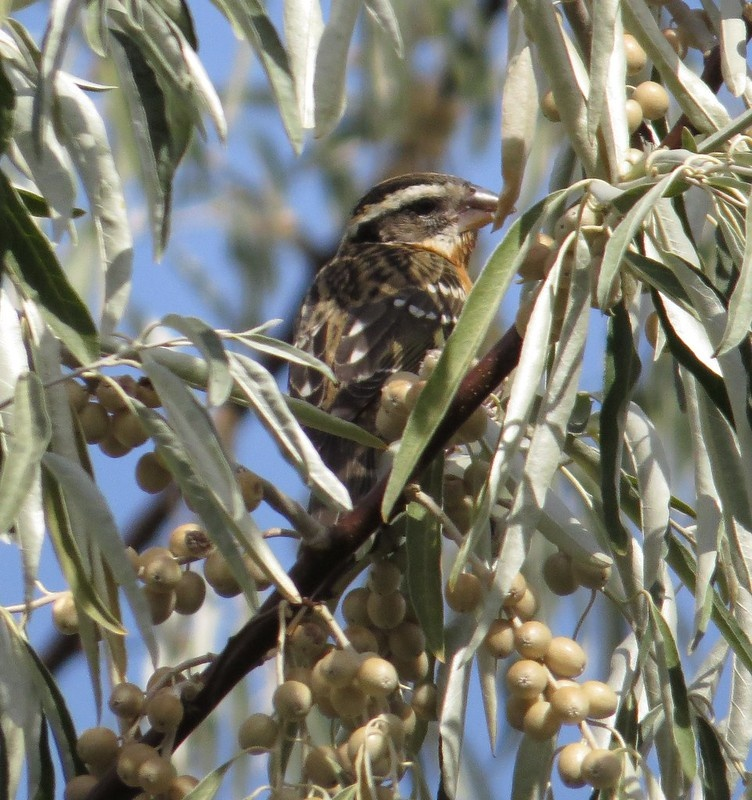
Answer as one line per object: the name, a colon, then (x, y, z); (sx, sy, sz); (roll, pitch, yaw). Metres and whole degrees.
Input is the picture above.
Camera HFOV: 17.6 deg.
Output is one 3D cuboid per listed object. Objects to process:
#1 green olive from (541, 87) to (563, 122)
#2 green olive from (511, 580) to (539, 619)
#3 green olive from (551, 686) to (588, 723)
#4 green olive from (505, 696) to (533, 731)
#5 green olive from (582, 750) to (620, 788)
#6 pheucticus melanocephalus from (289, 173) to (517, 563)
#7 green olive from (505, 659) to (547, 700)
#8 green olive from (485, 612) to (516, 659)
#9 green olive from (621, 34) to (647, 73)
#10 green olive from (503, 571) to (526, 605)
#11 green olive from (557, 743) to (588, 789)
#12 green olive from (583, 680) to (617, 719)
green olive: (0.288, -0.477, 3.954); (0.030, 0.042, 0.059); (-17, 54, 14)
green olive: (0.238, 0.318, 3.864); (0.027, 0.039, 0.058); (-5, 101, 31)
green olive: (0.299, 0.461, 3.695); (0.037, 0.056, 0.049); (1, 96, -3)
green olive: (0.228, 0.495, 3.798); (0.039, 0.046, 0.061); (2, 97, 2)
green olive: (0.340, 0.555, 3.674); (0.047, 0.057, 0.067); (-12, 42, 23)
pheucticus melanocephalus: (-0.029, -0.106, 6.008); (0.751, 0.378, 0.832); (-9, 83, -28)
green olive: (0.231, 0.429, 3.740); (0.049, 0.056, 0.072); (6, 97, 4)
green olive: (0.196, 0.377, 3.833); (0.044, 0.069, 0.058); (-4, 73, -4)
green olive: (0.431, -0.577, 4.065); (0.042, 0.034, 0.070); (-6, 86, -43)
green olive: (0.218, 0.288, 3.826); (0.033, 0.051, 0.043); (-8, 115, 2)
green olive: (0.296, 0.548, 3.654); (0.048, 0.073, 0.064); (2, 82, -3)
green olive: (0.345, 0.458, 3.726); (0.053, 0.043, 0.051); (-2, 94, -28)
